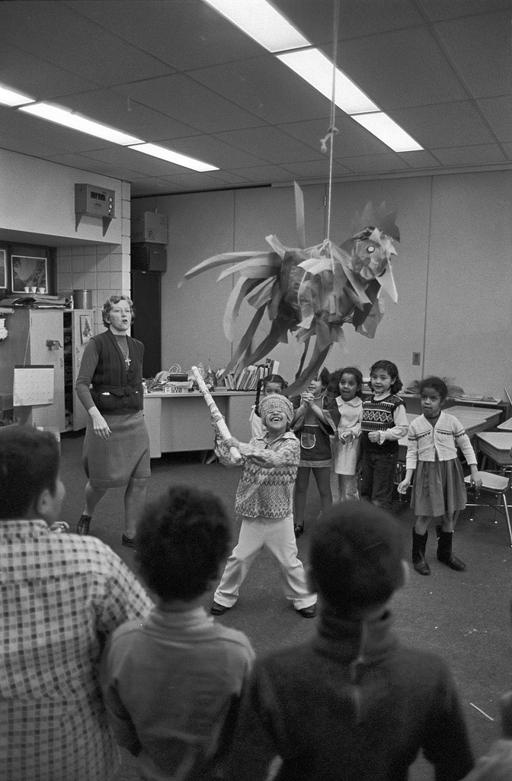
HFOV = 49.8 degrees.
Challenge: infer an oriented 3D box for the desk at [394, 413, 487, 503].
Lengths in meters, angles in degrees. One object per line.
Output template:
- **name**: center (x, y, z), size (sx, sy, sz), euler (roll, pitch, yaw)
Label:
- **desk**: center (0.935, 0.318, 2.847), size (0.351, 0.434, 0.176), euler (-7, -23, 23)

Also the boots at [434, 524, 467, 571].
- **boots**: center (0.972, 0.829, 2.877), size (0.088, 0.217, 0.214), euler (0, 2, -33)

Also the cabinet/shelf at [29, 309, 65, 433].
- **cabinet/shelf**: center (-2.137, -0.166, 5.711), size (0.207, 1.314, 0.630), euler (0, 8, -4)

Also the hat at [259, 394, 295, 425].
- **hat**: center (0.078, 0.086, 2.147), size (0.097, 0.121, 0.128), euler (1, -20, 1)

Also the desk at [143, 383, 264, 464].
- **desk**: center (-0.569, 0.094, 5.209), size (1.050, 0.750, 0.564), euler (-1, -1, -11)

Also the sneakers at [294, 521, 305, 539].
- **sneakers**: center (0.248, 0.803, 3.179), size (0.038, 0.055, 0.132), euler (-2, -7, 7)
